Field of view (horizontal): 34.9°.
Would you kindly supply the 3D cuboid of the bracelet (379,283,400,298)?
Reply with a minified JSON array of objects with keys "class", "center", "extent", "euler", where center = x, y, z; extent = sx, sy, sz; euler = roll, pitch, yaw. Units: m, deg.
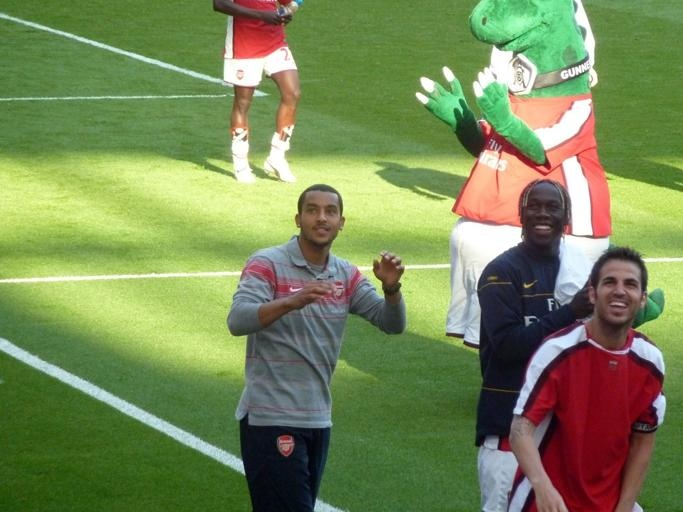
[{"class":"bracelet","center":[0.286,0.209,6.423],"extent":[0.159,0.068,0.161],"euler":[1,0,-7]}]

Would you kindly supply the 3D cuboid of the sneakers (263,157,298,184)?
[{"class":"sneakers","center":[-0.727,-1.013,13.022],"extent":[0.569,0.223,0.199],"euler":[23,32,40]}]
